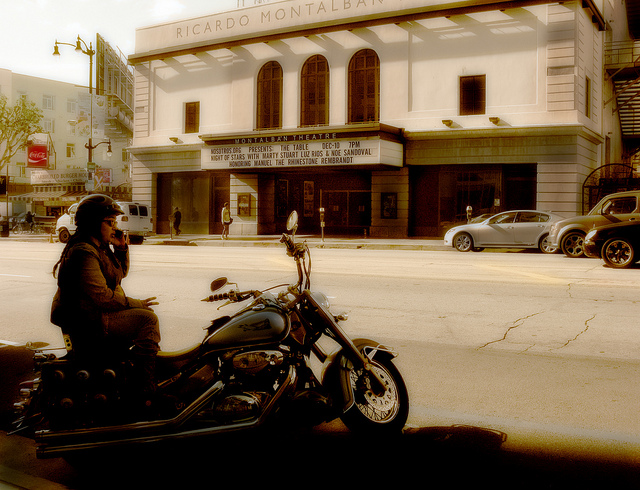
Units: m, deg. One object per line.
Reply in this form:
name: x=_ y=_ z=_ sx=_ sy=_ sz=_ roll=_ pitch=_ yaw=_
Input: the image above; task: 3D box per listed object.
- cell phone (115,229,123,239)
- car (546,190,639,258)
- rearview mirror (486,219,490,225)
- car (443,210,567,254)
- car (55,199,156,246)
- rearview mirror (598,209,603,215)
cell phone: x=-1.791 y=-0.093 z=5.444 sx=0.050 sy=0.076 sz=0.025 roll=4 pitch=-6 yaw=-17
car: x=7.617 y=-0.610 z=17.262 sx=2.466 sy=1.506 sz=1.365 roll=-3 pitch=-2 yaw=26
rearview mirror: x=5.611 y=-0.751 z=20.475 sx=0.110 sy=0.234 sz=0.122 roll=-5 pitch=-9 yaw=25
car: x=6.163 y=-0.623 z=20.615 sx=3.278 sy=1.311 sz=1.604 roll=2 pitch=0 yaw=19
car: x=-8.662 y=-0.922 z=27.005 sx=1.642 sy=1.513 sz=2.898 roll=-11 pitch=-7 yaw=32
rearview mirror: x=7.703 y=-0.918 z=16.857 sx=0.117 sy=0.151 sz=0.130 roll=-19 pitch=23 yaw=-13
